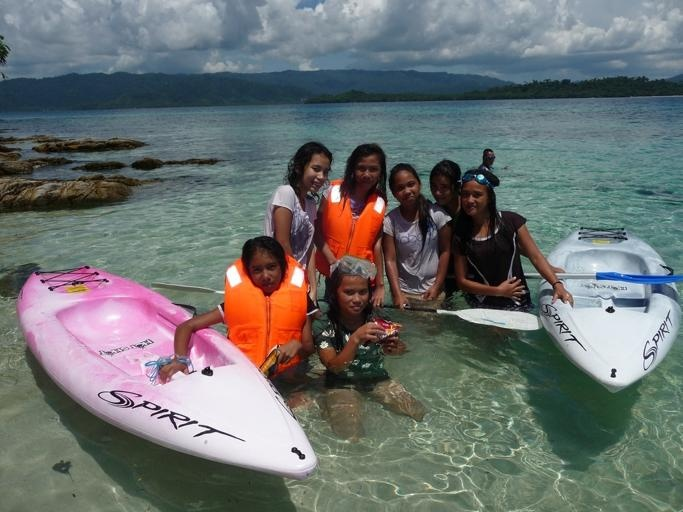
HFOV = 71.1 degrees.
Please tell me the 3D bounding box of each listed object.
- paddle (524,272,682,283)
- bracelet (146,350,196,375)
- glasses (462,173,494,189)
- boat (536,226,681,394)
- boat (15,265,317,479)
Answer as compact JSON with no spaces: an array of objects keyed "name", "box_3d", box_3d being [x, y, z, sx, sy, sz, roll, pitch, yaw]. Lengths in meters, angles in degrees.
[{"name":"paddle","box_3d":[2.959,0.249,5.371,1.846,0.110,0.113,1,11,18]},{"name":"bracelet","box_3d":[-1.450,0.958,4.256,0.425,0.117,0.275,-19,32,-27]},{"name":"glasses","box_3d":[1.430,-0.795,5.015,0.322,0.158,0.159,2,19,10]},{"name":"boat","box_3d":[2.921,0.590,5.128,1.337,0.494,2.174,-2,26,23]},{"name":"boat","box_3d":[-1.855,0.968,4.291,3.743,0.514,1.313,16,22,40]}]
